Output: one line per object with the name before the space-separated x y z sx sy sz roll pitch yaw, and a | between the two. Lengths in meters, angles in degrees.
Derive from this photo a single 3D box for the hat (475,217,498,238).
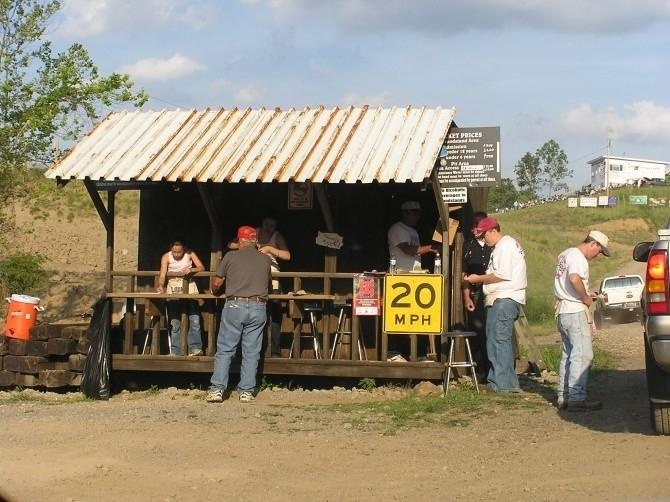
hat | 2.681 -0.389 21.512 0.372 0.203 0.285 -11 26 45

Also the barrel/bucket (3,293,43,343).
barrel/bucket | -6.081 1.306 23.395 0.664 0.914 0.590 -3 0 7

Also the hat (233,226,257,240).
hat | -1.627 -0.320 21.802 0.224 0.190 0.305 -8 9 -38

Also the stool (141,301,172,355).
stool | -3.447 1.271 23.397 0.449 0.538 0.470 1 7 6

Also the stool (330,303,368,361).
stool | 0.234 1.474 22.450 0.682 1.107 1.209 -3 1 1

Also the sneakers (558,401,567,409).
sneakers | 3.847 2.615 20.321 0.131 0.114 0.128 2 -2 31

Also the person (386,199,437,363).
person | 1.382 0.577 22.307 0.875 2.902 1.430 -3 0 3

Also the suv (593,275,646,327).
suv | 8.036 1.363 34.665 1.630 1.388 3.047 -2 8 4

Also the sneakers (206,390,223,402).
sneakers | -2.146 2.592 21.417 0.289 0.223 0.239 -3 1 0

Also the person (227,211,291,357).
person | -1.632 1.024 22.945 1.333 3.125 0.975 2 23 -5

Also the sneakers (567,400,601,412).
sneakers | 4.170 2.603 20.235 0.584 0.261 0.201 -1 2 -7

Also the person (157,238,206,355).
person | -2.861 0.895 22.525 0.854 2.143 0.796 -3 0 -7

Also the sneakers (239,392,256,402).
sneakers | -1.566 2.602 21.312 0.121 0.133 0.283 1 3 15

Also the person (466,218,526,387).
person | 2.932 0.966 21.497 0.986 3.005 0.727 -3 0 7

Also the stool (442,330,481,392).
stool | 2.257 1.997 21.515 0.776 1.051 0.782 -3 -3 22

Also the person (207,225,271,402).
person | -1.686 1.136 21.587 1.153 3.127 0.624 -3 0 -4
